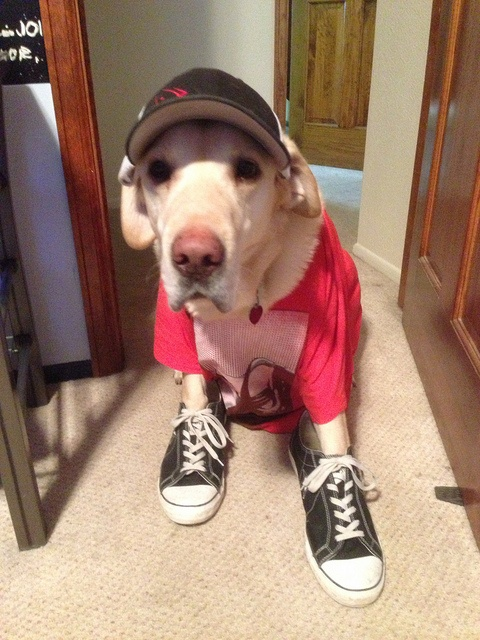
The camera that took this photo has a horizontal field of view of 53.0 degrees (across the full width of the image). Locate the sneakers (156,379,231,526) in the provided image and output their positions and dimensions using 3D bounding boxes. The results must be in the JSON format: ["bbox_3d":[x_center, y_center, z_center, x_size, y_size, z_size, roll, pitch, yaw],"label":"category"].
[{"bbox_3d":[-0.102,0.275,1.028,0.097,0.105,0.262,0,33,3],"label":"sneakers"}]

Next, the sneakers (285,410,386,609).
[{"bbox_3d":[0.178,0.323,0.880,0.092,0.093,0.274,-5,37,1],"label":"sneakers"}]
